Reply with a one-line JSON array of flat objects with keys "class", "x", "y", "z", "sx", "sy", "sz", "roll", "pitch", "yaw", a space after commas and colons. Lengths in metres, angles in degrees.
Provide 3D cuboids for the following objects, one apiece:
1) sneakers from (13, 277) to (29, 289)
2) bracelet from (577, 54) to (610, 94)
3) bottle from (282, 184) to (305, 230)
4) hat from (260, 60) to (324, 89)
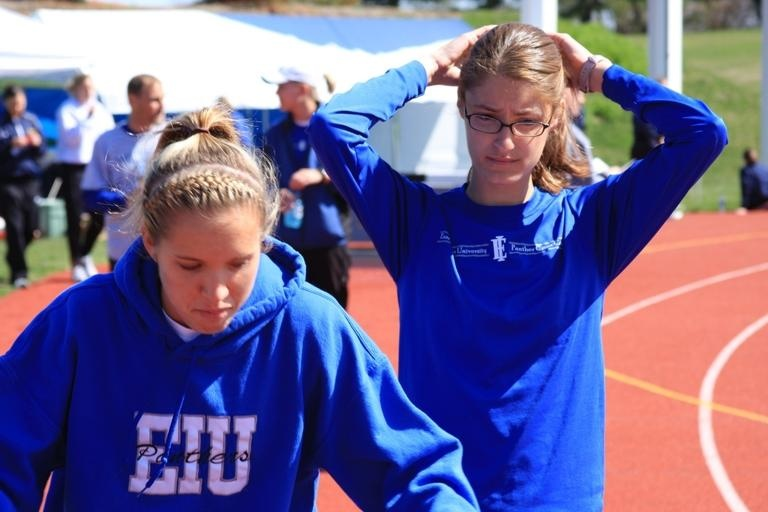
[{"class": "sneakers", "x": -4.338, "y": 0.318, "z": 13.147, "sx": 0.098, "sy": 0.131, "sz": 0.177, "roll": 1, "pitch": 1, "yaw": 0}, {"class": "bracelet", "x": 1.280, "y": -1.109, "z": 6.737, "sx": 0.100, "sy": 0.172, "sz": 0.168, "roll": -27, "pitch": 24, "yaw": -4}, {"class": "bottle", "x": -0.740, "y": -0.407, "z": 9.050, "sx": 0.206, "sy": 0.419, "sz": 0.218, "roll": 7, "pitch": 21, "yaw": -3}, {"class": "hat", "x": -0.750, "y": -1.498, "z": 9.205, "sx": 0.527, "sy": 0.181, "sz": 0.337, "roll": 7, "pitch": 9, "yaw": -13}]
